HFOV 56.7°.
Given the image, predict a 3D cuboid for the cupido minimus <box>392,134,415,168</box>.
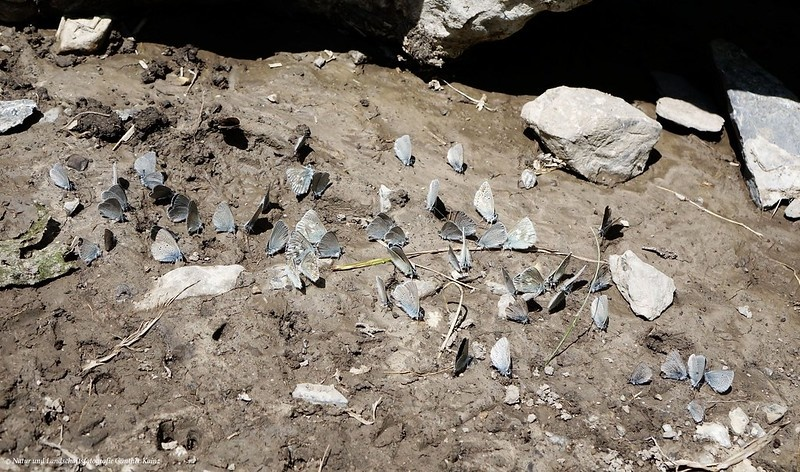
[{"bbox_3d":[0.078,-1.897,16.260,0.660,0.419,0.133,61,24,0],"label":"cupido minimus"}]
